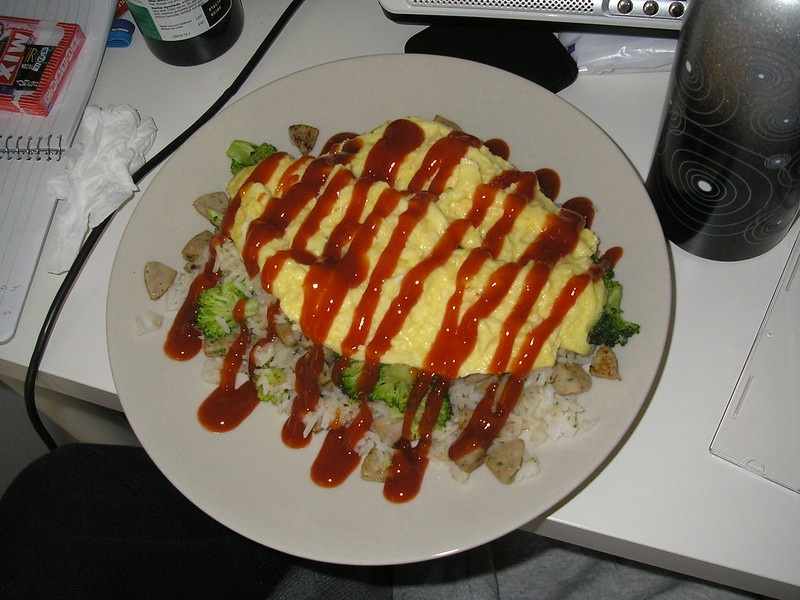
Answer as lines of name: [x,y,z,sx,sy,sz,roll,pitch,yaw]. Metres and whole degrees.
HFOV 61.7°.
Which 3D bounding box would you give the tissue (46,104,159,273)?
tissue: [-1.129,-0.446,2.525,0.292,0.104,0.658,12,82,0]
